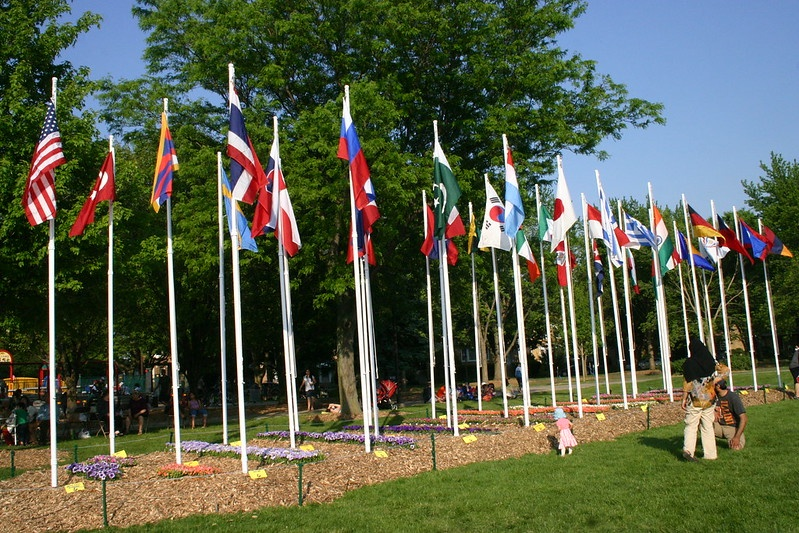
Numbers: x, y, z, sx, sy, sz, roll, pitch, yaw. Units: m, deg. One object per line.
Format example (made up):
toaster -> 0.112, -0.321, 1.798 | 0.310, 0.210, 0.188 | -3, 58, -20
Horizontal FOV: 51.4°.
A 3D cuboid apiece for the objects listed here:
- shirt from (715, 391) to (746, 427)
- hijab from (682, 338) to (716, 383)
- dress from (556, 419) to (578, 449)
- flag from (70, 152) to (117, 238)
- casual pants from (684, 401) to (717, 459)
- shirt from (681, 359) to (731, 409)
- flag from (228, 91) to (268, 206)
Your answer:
shirt -> 11.131, 4.824, 28.141 | 0.534, 1.215, 1.406 | 0, -8, -23
hijab -> 9.532, 2.920, 26.599 | 1.097, 1.172, 0.717 | -17, 19, -13
dress -> 5.837, 5.909, 29.059 | 0.862, 1.158, 0.680 | -9, 10, 20
flag -> -10.868, -2.607, 29.352 | 1.819, 3.066, 1.152 | -16, -16, 43
casual pants -> 9.716, 5.327, 26.705 | 1.058, 1.760, 1.100 | -11, -13, 28
shirt -> 9.999, 3.823, 26.562 | 1.400, 1.219, 0.799 | -16, -1, 37
flag -> -5.389, -4.108, 28.613 | 0.876, 3.904, 1.523 | -6, -12, 7
